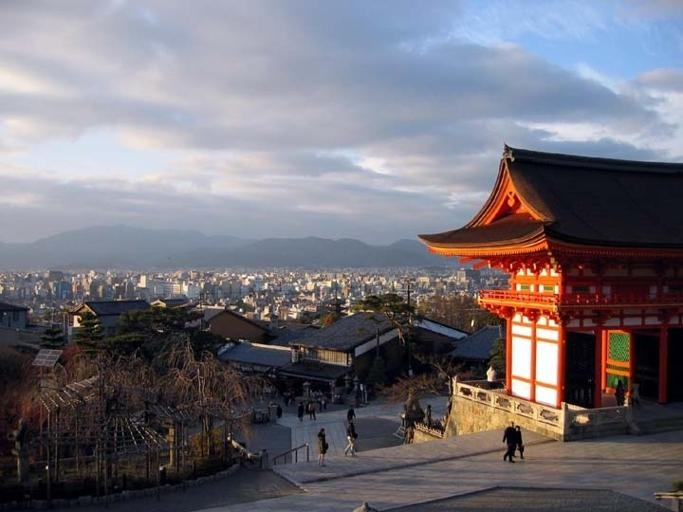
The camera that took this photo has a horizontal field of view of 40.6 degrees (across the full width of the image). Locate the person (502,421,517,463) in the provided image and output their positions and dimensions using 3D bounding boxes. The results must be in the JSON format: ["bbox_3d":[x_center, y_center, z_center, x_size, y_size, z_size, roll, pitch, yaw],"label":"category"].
[{"bbox_3d":[7.123,7.971,39.208,0.574,1.679,0.653,-1,-6,8],"label":"person"}]

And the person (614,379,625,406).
[{"bbox_3d":[12.915,6.438,42.880,0.404,1.091,0.978,-1,-6,12],"label":"person"}]

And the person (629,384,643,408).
[{"bbox_3d":[13.915,6.626,43.716,0.420,1.037,1.320,-2,-6,17],"label":"person"}]
